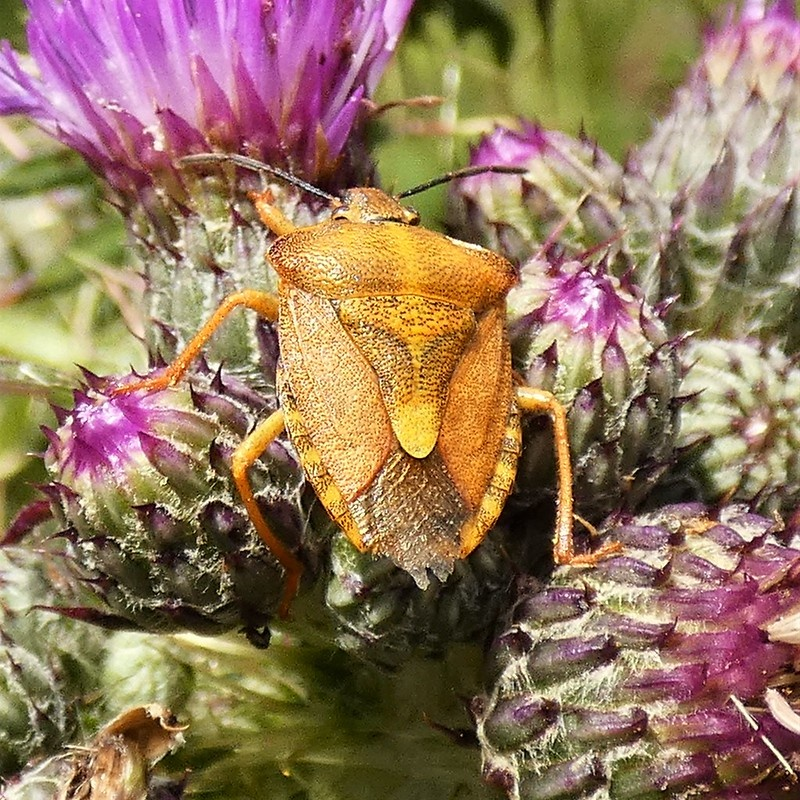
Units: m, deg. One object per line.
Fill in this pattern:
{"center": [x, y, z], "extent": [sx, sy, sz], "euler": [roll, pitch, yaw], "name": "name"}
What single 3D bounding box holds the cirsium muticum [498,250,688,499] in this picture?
{"center": [0.351, -0.053, 2.820], "extent": [0.404, 0.513, 0.492], "euler": [-3, 92, 1], "name": "cirsium muticum"}
